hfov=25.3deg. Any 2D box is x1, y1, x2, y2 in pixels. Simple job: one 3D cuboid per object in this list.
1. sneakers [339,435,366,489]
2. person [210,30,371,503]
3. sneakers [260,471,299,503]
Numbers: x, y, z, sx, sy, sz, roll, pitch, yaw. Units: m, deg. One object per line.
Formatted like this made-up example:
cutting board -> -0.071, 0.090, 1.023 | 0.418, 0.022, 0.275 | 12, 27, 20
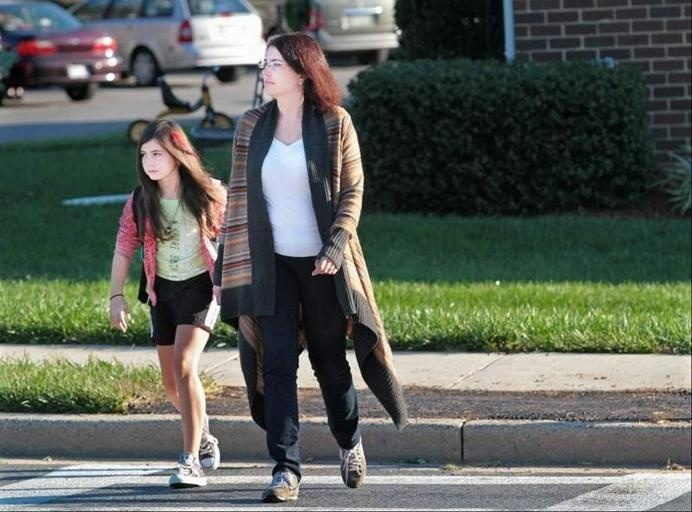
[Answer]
sneakers -> 0.053, 1.573, 11.503 | 0.134, 0.425, 0.155 | -3, 11, 3
person -> -0.364, 0.108, 11.344 | 1.112, 3.304, 0.977 | -8, 16, -14
sneakers -> -0.482, 1.695, 11.179 | 0.142, 0.170, 0.359 | 0, -10, 15
